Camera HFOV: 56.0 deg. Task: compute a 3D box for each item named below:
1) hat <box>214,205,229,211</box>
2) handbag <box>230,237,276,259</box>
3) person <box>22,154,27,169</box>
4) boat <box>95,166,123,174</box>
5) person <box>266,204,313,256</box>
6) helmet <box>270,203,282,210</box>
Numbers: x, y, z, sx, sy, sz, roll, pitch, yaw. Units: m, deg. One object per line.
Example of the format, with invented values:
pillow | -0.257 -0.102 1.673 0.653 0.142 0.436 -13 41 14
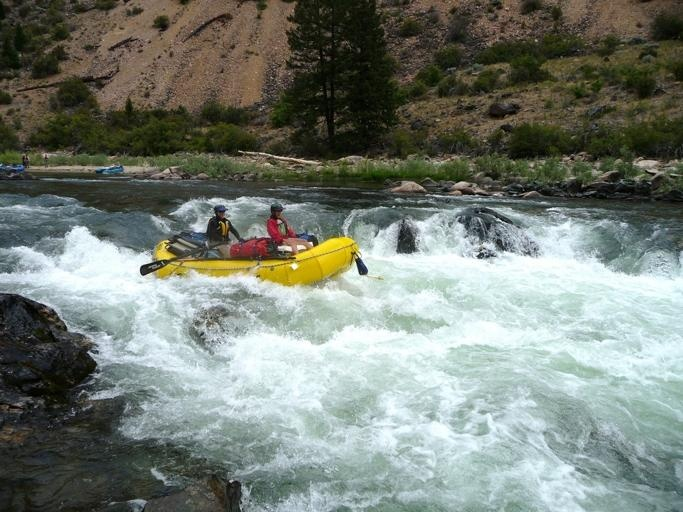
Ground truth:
hat | -2.888 -1.108 15.069 0.234 0.098 0.173 -13 16 -41
handbag | -2.083 -0.127 14.663 0.835 0.216 0.582 -3 16 7
person | -18.368 -5.418 36.800 0.332 0.715 0.787 -11 18 -28
boat | -12.382 -4.450 33.620 1.330 0.356 0.765 0 9 5
person | -1.134 -0.543 14.906 1.610 0.941 0.610 25 33 30
helmet | -1.540 -1.119 14.967 0.248 0.167 0.257 -4 15 -11
